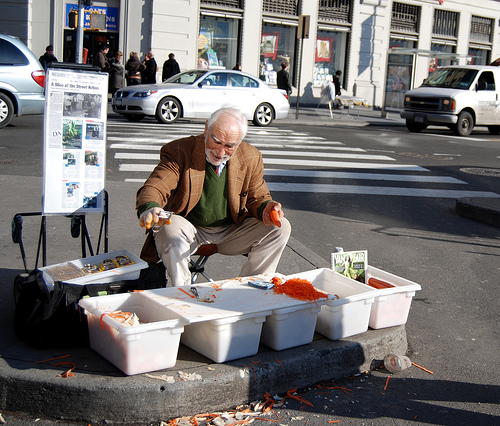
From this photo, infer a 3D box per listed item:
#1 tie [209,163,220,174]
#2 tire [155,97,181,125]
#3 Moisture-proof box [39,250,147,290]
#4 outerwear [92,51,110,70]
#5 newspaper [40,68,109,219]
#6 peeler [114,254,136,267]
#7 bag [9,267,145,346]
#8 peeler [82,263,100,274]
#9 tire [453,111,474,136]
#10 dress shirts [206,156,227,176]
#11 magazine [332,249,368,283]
[{"bbox_3d":[-0.246,-0.320,3.565,0.056,0.045,0.075,9,-1,-14],"label":"tie"},{"bbox_3d":[-2.524,-3.127,15.329,0.769,0.812,0.254,-5,16,-33],"label":"tire"},{"bbox_3d":[-0.997,0.369,3.279,0.452,0.104,0.302,-13,22,-34],"label":"Moisture-proof box"},{"bbox_3d":[-5.592,-5.737,18.866,0.436,0.710,1.658,-1,15,-17],"label":"outerwear"},{"bbox_3d":[-1.247,-0.490,3.557,0.440,0.997,0.183,-2,15,-20],"label":"newspaper"},{"bbox_3d":[-0.859,0.323,3.396,0.077,0.027,0.077,-1,24,-41],"label":"peeler"},{"bbox_3d":[-1.113,0.540,2.955,0.510,0.269,0.374,7,-1,-34],"label":"bag"},{"bbox_3d":[-1.054,0.368,3.313,0.060,0.027,0.087,-1,17,-25],"label":"peeler"},{"bbox_3d":[7.507,-3.181,17.613,0.686,0.721,0.252,-19,15,-39],"label":"tire"},{"bbox_3d":[-0.237,-0.333,3.572,0.102,0.147,0.053,6,38,-12],"label":"dress shirts"},{"bbox_3d":[0.732,0.394,3.614,0.275,0.244,0.042,5,-10,-30],"label":"magazine"}]
